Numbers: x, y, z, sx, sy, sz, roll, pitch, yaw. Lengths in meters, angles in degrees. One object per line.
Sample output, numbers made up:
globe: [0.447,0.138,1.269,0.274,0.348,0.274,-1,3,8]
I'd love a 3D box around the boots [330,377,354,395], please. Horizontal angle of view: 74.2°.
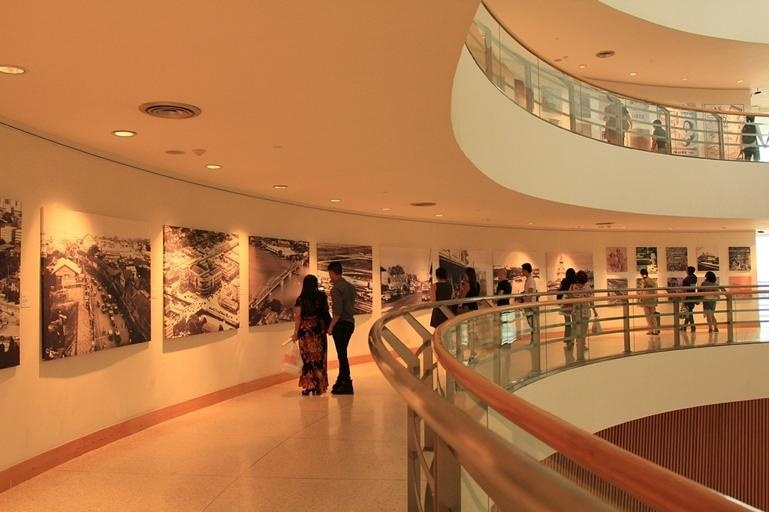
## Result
boots: [-0.694,2.205,8.480,0.348,0.221,0.219,4,-7,6]

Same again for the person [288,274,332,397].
person: [-1.186,1.331,8.372,0.614,1.812,0.557,-1,0,1]
